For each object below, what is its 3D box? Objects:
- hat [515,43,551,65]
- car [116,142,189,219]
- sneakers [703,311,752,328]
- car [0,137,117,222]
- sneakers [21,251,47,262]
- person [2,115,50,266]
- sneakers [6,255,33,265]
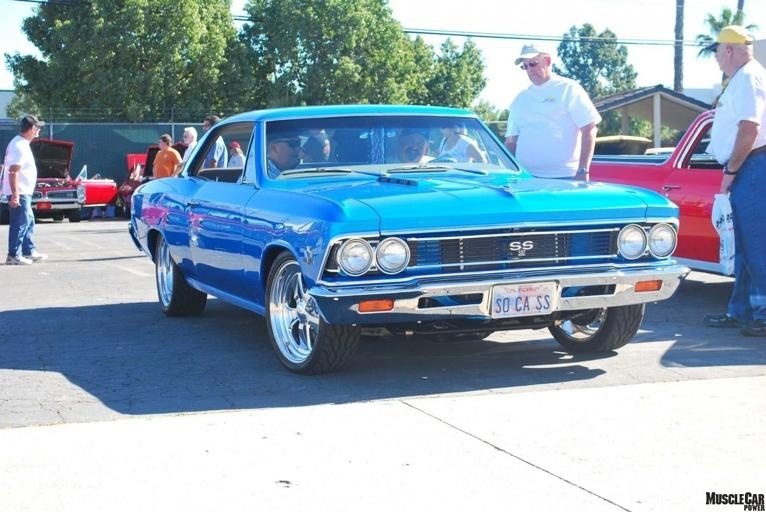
[{"bbox_3d":[1.512,-2.076,7.593,0.292,0.168,0.352,1,8,13],"label":"hat"},{"bbox_3d":[-7.375,-2.326,22.328,2.672,2.492,4.283,-2,7,-17],"label":"car"},{"bbox_3d":[3.284,0.606,7.055,0.381,0.152,0.137,5,0,16],"label":"sneakers"},{"bbox_3d":[-9.092,-2.468,22.412,2.762,2.532,4.584,-2,2,-32],"label":"car"},{"bbox_3d":[-5.877,0.008,12.562,0.349,0.137,0.112,-5,9,-28],"label":"sneakers"},{"bbox_3d":[-5.954,-1.096,12.289,0.647,2.408,0.636,-5,10,-25],"label":"person"},{"bbox_3d":[-6.004,0.059,12.309,0.459,0.190,0.172,0,5,-7],"label":"sneakers"}]
